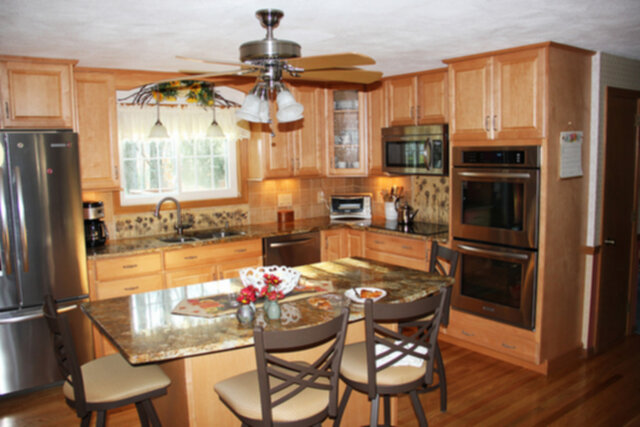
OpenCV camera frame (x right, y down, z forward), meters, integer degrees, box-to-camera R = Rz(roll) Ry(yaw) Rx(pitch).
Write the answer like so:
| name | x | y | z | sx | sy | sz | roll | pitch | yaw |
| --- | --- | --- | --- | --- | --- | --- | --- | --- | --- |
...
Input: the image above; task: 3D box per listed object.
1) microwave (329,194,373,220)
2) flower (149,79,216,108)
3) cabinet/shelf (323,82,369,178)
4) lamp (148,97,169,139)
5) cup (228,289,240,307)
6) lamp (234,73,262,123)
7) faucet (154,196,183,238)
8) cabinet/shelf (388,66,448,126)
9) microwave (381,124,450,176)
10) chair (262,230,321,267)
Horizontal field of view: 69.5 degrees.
| name | x | y | z | sx | sy | sz | roll | pitch | yaw |
| --- | --- | --- | --- | --- | --- | --- | --- | --- | --- |
| microwave | 0.418 | -0.102 | 6.222 | 0.588 | 0.318 | 0.333 | 0 | 1 | 13 |
| flower | -1.578 | -1.417 | 5.473 | 0.653 | 0.299 | 0.162 | -5 | 14 | -14 |
| cabinet/shelf | 0.338 | -1.072 | 6.073 | 0.538 | 1.111 | 0.197 | -2 | 14 | 1 |
| lamp | -1.876 | -1.092 | 5.287 | 0.204 | 0.476 | 0.272 | -8 | 15 | -22 |
| cup | -0.637 | 0.651 | 3.465 | 0.091 | 0.089 | 0.090 | 1 | -1 | 0 |
| lamp | -0.459 | -0.727 | 2.970 | 0.154 | 0.263 | 0.251 | -3 | 13 | -6 |
| faucet | -1.789 | 0.036 | 5.453 | 0.318 | 0.484 | 0.366 | -6 | 14 | -18 |
| cabinet/shelf | 1.176 | -1.400 | 5.428 | 0.281 | 0.463 | 0.712 | -5 | 8 | -38 |
| microwave | 1.112 | -0.770 | 5.521 | 0.622 | 0.617 | 1.005 | -2 | 3 | -40 |
| chair | -0.332 | 0.437 | 5.634 | 0.672 | 0.401 | 0.438 | -5 | 7 | -34 |
